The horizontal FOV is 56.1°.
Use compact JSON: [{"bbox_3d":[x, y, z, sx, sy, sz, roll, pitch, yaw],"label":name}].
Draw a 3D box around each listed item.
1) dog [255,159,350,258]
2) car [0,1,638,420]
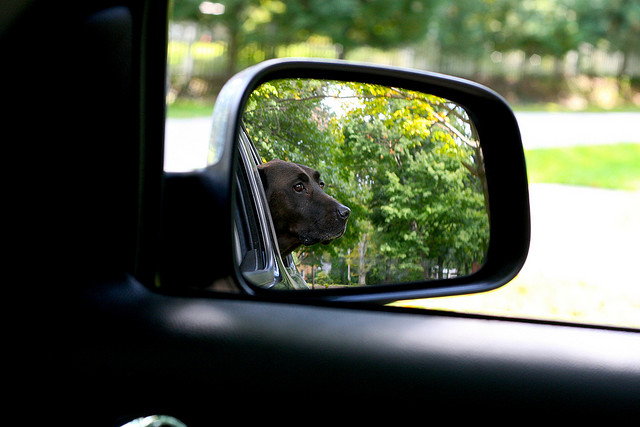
[{"bbox_3d":[-0.038,-0.017,1.863,0.294,0.230,0.400,0,88,-2],"label":"dog"},{"bbox_3d":[0.134,0.074,2.444,2.335,0.851,1.746,1,89,-21],"label":"car"}]
